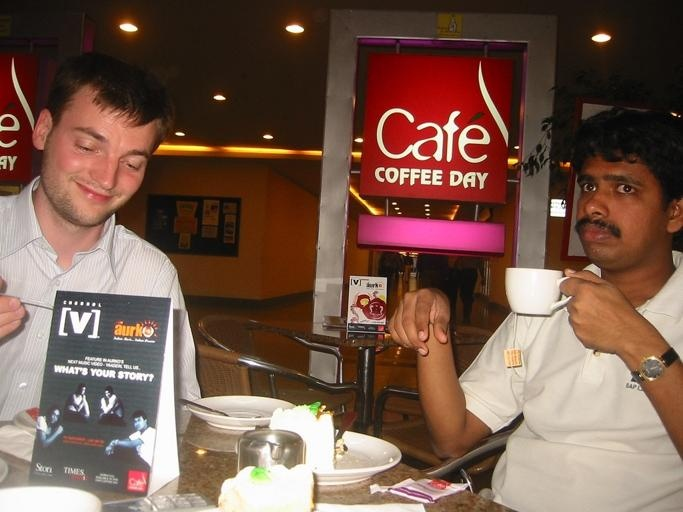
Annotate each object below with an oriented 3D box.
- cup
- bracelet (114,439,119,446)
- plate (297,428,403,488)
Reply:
[{"bbox_3d":[0.524,0.094,1.362,0.151,0.106,0.126,3,-5,7],"label":"cup"},{"bbox_3d":[-0.441,0.370,1.013,0.009,0.009,0.009,0,8,-16],"label":"bracelet"},{"bbox_3d":[0.016,0.457,1.149,0.270,0.038,0.275,-1,2,-5],"label":"plate"}]
